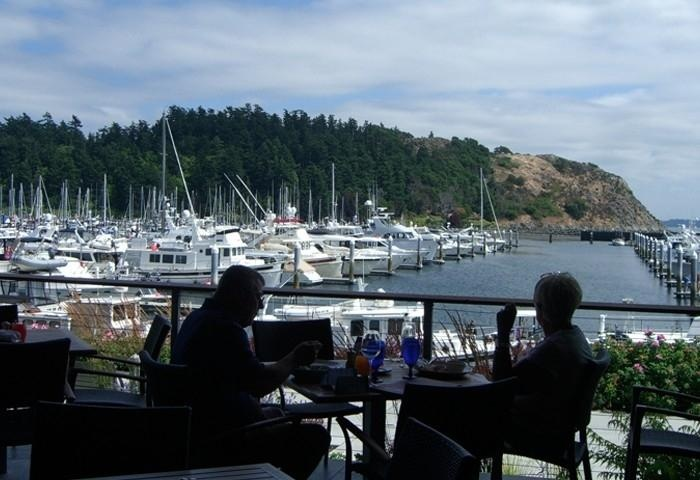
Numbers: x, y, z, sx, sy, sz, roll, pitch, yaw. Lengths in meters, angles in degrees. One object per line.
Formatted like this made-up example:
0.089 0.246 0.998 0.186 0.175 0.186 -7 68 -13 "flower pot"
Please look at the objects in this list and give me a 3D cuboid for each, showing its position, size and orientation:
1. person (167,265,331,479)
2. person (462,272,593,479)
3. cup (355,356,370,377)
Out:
-0.879 1.179 7.190 1.143 1.883 0.421 0 -2 -27 "person"
1.677 1.088 7.288 0.854 1.569 0.441 -2 -2 10 "person"
0.109 1.116 7.347 0.133 0.164 0.115 -1 -2 -3 "cup"
